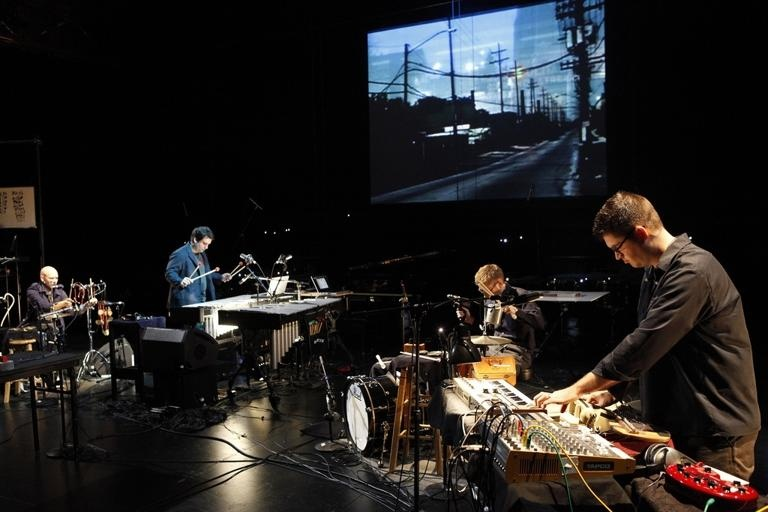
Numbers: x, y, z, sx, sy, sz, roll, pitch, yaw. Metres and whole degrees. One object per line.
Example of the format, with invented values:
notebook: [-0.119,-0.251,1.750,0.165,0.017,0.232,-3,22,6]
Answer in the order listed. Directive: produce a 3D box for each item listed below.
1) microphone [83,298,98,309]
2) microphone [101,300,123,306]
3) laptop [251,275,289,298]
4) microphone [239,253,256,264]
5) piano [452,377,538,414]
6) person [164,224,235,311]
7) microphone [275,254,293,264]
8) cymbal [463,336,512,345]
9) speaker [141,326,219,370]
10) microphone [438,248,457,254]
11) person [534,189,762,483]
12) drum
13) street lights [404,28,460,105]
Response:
microphone: [-4.059,0.654,9.062,0.132,0.060,0.176,-7,5,19]
microphone: [-4.206,0.719,10.049,0.347,0.105,0.180,2,-2,6]
laptop: [-1.537,0.410,8.943,0.373,0.238,0.370,-9,-7,24]
microphone: [-2.080,0.027,9.899,0.213,0.154,0.397,3,5,-37]
piano: [0.923,1.178,5.494,0.448,0.142,0.901,-7,11,-15]
person: [-2.688,0.148,9.202,0.769,1.081,0.646,-12,15,-33]
microphone: [-1.555,0.045,10.135,0.160,0.085,0.204,17,20,10]
cymbal: [1.012,0.854,6.630,0.329,0.072,0.315,-2,1,-29]
speaker: [-2.510,0.990,8.043,0.810,0.550,0.566,-1,1,27]
microphone: [1.056,-0.080,10.852,0.283,0.103,0.292,0,12,19]
person: [2.205,0.601,4.972,1.216,2.157,0.548,-1,14,15]
drum: [0.016,1.531,7.092,1.320,1.120,0.776,-2,1,-36]
street lights: [0.717,-3.128,10.453,0.990,1.170,0.117,2,15,27]
